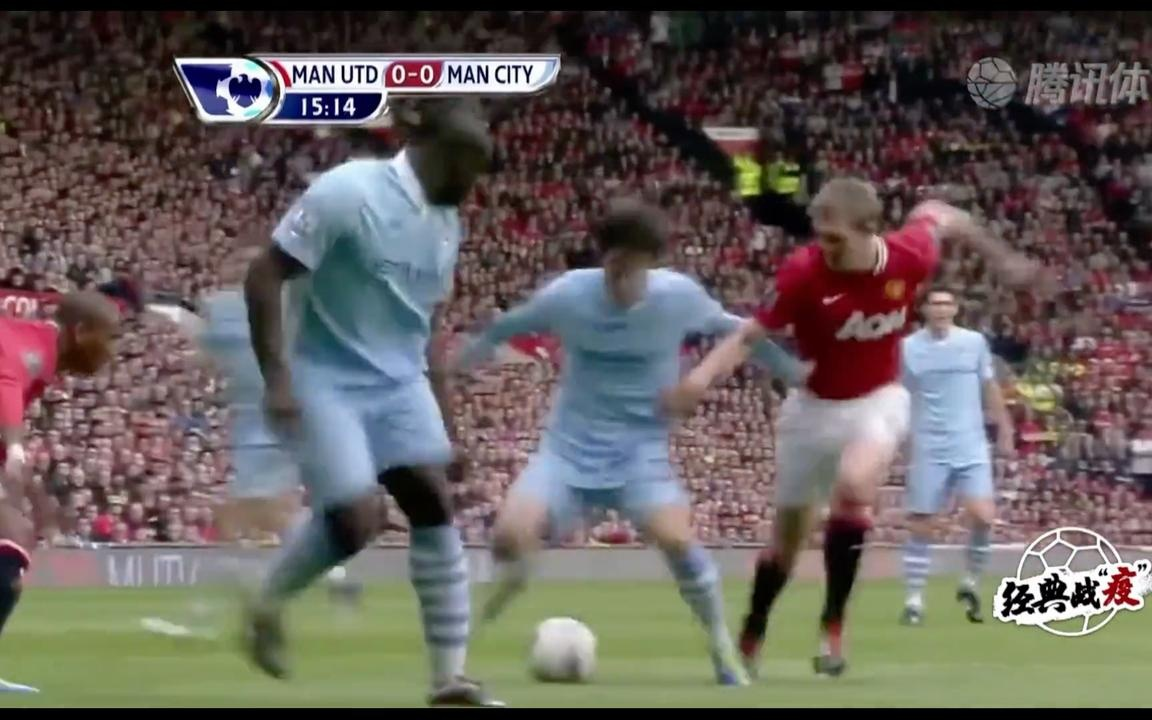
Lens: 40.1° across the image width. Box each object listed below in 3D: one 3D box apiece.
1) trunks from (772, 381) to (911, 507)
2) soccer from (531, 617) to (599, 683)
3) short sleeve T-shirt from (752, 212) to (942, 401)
[{"bbox_3d":[1.484,0.470,9.042,0.766,0.781,0.588,-3,51,-1],"label":"trunks"},{"bbox_3d":[-0.129,1.679,9.024,0.420,0.360,0.408,4,-4,11],"label":"soccer"},{"bbox_3d":[1.644,-0.270,9.260,1.298,0.912,0.587,-21,26,0],"label":"short sleeve T-shirt"}]
